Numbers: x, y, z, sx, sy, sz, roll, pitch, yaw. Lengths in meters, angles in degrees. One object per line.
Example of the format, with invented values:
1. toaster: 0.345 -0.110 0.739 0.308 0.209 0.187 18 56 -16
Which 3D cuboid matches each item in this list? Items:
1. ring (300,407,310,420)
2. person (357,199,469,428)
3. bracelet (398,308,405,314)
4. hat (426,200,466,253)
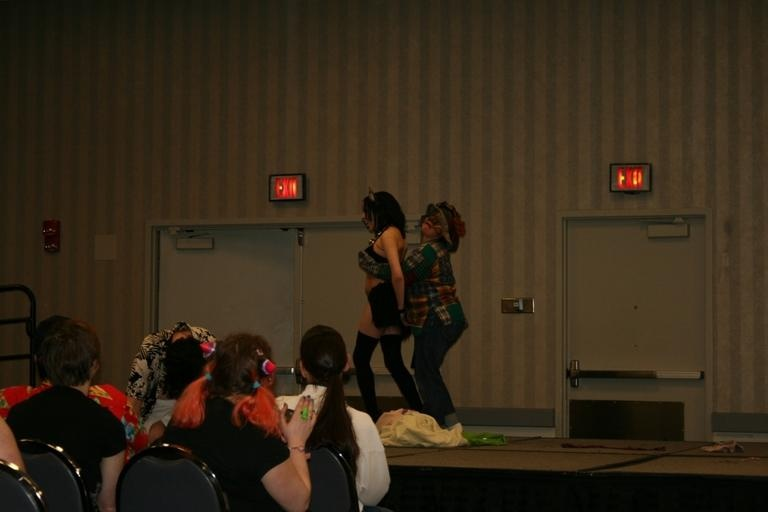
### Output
1. ring: -0.494 1.010 6.117 0.044 0.077 0.026 4 -4 -5
2. person: 0.333 0.503 8.263 0.752 1.932 0.378 1 -5 -22
3. bracelet: 0.151 0.468 8.186 0.051 0.031 0.064 -2 -6 8
4. hat: 0.533 -0.292 8.447 0.159 0.368 0.407 -34 7 -16
